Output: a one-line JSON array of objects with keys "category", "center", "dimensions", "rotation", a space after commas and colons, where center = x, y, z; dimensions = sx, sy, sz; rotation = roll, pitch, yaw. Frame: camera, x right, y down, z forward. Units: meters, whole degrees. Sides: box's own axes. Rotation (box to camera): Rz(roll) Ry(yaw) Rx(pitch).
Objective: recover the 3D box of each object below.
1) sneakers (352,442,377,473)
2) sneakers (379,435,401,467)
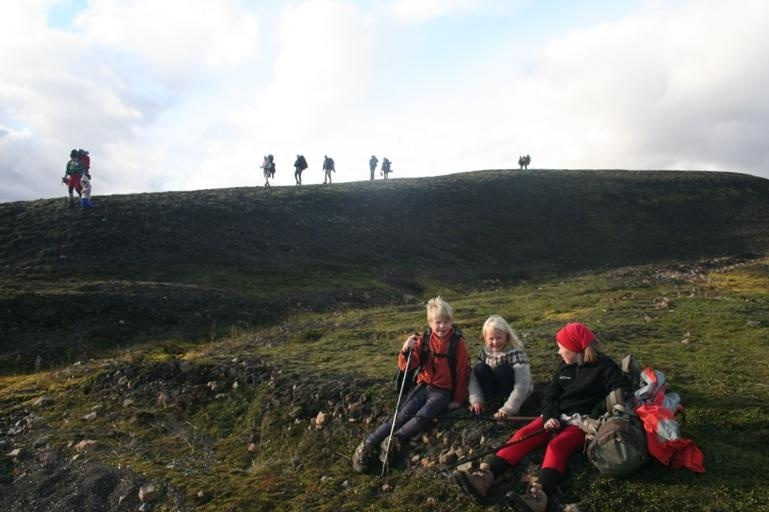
[{"category": "sneakers", "center": [-0.365, 3.740, 9.999], "dimensions": [0.282, 0.298, 0.657], "rotation": [27, 24, -27]}, {"category": "sneakers", "center": [0.128, 3.584, 9.980], "dimensions": [0.263, 0.557, 0.227], "rotation": [5, -15, -21]}]
